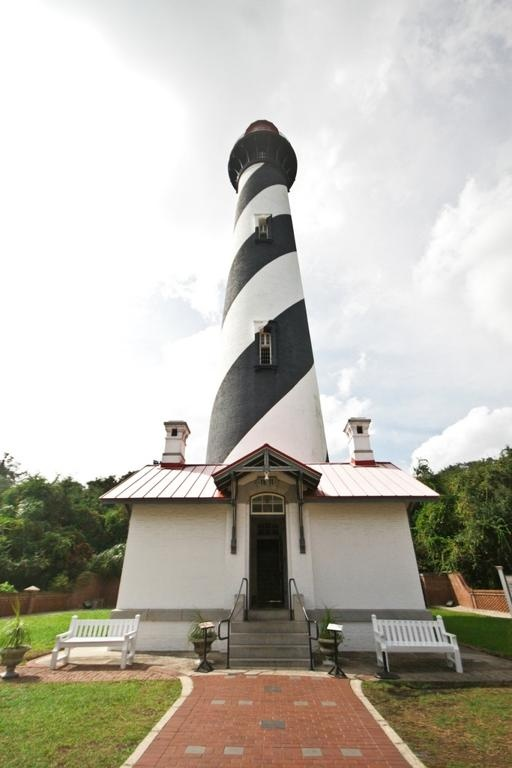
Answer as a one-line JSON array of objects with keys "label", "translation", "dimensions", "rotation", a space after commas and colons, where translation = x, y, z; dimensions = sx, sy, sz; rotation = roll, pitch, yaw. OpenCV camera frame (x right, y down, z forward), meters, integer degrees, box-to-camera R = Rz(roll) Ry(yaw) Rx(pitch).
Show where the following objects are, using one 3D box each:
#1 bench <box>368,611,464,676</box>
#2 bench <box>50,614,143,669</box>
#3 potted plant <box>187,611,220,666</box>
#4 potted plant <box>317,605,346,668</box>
[{"label": "bench", "translation": [2.749, 4.511, 8.190], "dimensions": [1.337, 0.848, 1.344], "rotation": [-4, -23, 5]}, {"label": "bench", "translation": [-2.993, 4.767, 8.781], "dimensions": [1.357, 0.796, 2.329], "rotation": [5, -24, -16]}, {"label": "potted plant", "translation": [-0.960, 4.550, 8.253], "dimensions": [0.439, 0.671, 0.450], "rotation": [-17, -27, 33]}, {"label": "potted plant", "translation": [1.303, 4.630, 8.429], "dimensions": [0.394, 0.738, 0.404], "rotation": [4, -21, -1]}]
